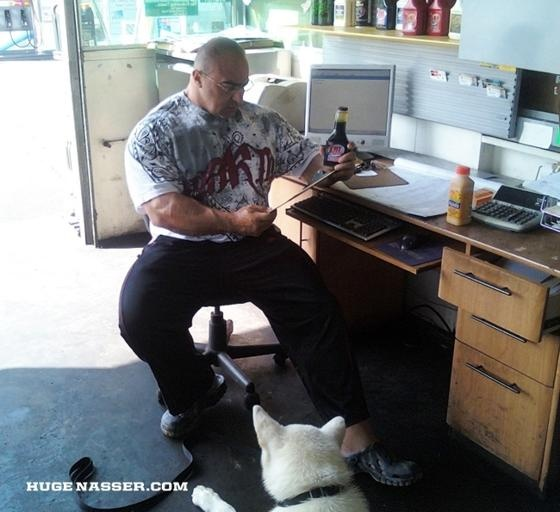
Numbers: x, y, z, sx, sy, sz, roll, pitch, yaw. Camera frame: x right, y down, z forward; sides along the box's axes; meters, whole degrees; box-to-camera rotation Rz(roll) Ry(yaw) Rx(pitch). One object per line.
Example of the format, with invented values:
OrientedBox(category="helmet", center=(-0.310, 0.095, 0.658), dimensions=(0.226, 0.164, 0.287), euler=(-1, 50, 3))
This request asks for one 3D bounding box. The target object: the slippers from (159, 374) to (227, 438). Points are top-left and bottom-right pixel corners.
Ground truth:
OrientedBox(category="slippers", center=(-0.338, 0.579, 1.868), dimensions=(0.118, 0.116, 0.326), euler=(32, 37, 20))

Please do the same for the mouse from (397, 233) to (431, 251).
OrientedBox(category="mouse", center=(0.484, -0.061, 1.706), dimensions=(0.055, 0.025, 0.101), euler=(20, 31, 39))

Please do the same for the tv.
OrientedBox(category="tv", center=(0.325, -0.769, 2.407), dimensions=(0.444, 0.395, 0.226), euler=(-3, 20, -11))

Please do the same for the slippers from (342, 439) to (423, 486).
OrientedBox(category="slippers", center=(0.352, 0.692, 1.600), dimensions=(0.252, 0.109, 0.127), euler=(3, 17, 20))

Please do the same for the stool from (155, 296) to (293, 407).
OrientedBox(category="stool", center=(-0.176, 0.447, 2.091), dimensions=(0.473, 0.236, 0.449), euler=(-3, 24, -7))
